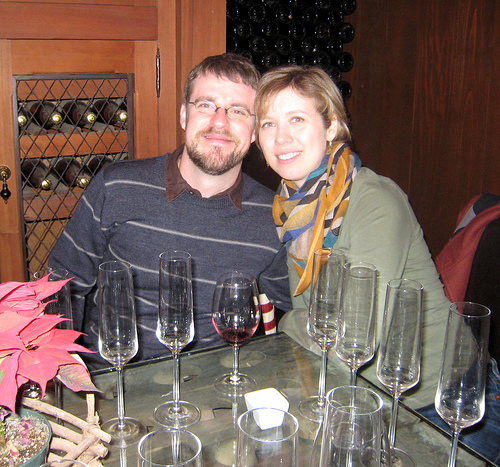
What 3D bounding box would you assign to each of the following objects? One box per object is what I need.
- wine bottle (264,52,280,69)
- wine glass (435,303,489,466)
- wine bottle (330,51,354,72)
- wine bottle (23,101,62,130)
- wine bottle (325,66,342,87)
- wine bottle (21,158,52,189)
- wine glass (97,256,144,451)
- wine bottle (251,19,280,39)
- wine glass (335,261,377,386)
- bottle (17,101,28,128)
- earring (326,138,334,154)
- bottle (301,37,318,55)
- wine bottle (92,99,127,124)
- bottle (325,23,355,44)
[{"bbox_3d":[0.142,-1.086,2.882,0.118,0.097,0.048,-9,18,-37],"label":"wine bottle"},{"bbox_3d":[0.361,0.276,0.791,0.073,0.293,0.043,9,15,27],"label":"wine glass"},{"bbox_3d":[0.638,-1.207,3.282,0.131,0.152,0.161,-3,12,-6],"label":"wine bottle"},{"bbox_3d":[-0.949,-0.545,2.130,0.158,0.132,0.055,2,14,-1],"label":"wine bottle"},{"bbox_3d":[0.577,-1.095,3.199,0.099,0.133,0.233,4,15,8],"label":"wine bottle"},{"bbox_3d":[-1.016,-0.285,2.179,0.076,0.085,0.238,-15,8,-22],"label":"wine bottle"},{"bbox_3d":[-0.269,0.237,0.954,0.108,0.395,0.114,-1,10,-12],"label":"wine glass"},{"bbox_3d":[0.090,-1.244,2.794,0.184,0.129,0.126,1,24,19],"label":"wine bottle"},{"bbox_3d":[0.223,0.191,0.970,0.079,0.230,0.057,7,15,17],"label":"wine glass"},{"bbox_3d":[-1.030,-0.532,2.092,0.017,0.103,0.062,6,15,16],"label":"bottle"},{"bbox_3d":[0.293,-0.326,1.709,0.023,0.026,0.104,19,8,13],"label":"earring"},{"bbox_3d":[0.374,-1.202,2.950,0.110,0.103,0.026,-2,14,-16],"label":"bottle"},{"bbox_3d":[-0.697,-0.600,2.255,0.119,0.041,0.039,16,-25,-2],"label":"wine bottle"},{"bbox_3d":[0.583,-1.329,3.043,0.130,0.151,0.160,-3,12,-8],"label":"bottle"}]
